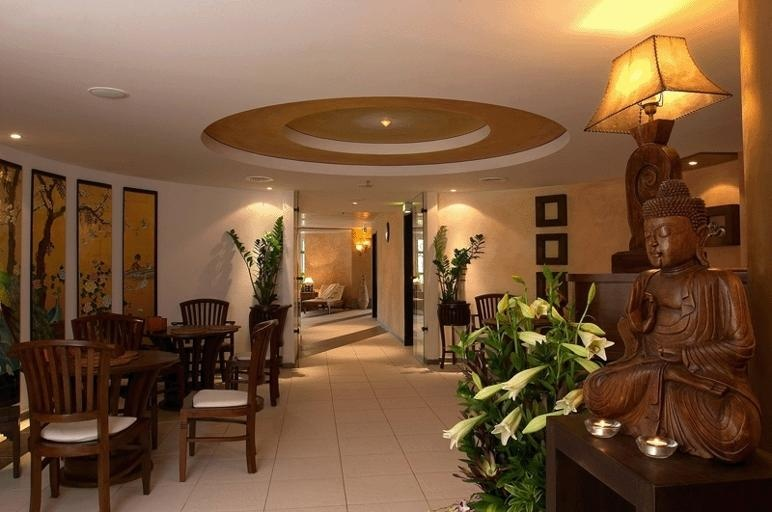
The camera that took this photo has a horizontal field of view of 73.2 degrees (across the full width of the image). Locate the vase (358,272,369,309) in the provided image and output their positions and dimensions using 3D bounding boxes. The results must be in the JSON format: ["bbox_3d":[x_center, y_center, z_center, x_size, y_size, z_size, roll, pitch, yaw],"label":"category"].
[{"bbox_3d":[-0.676,1.149,16.954,0.328,1.124,0.345,-1,3,-12],"label":"vase"}]

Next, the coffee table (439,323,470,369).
[{"bbox_3d":[0.961,1.276,7.848,0.419,0.501,0.400,7,-17,-41],"label":"coffee table"}]

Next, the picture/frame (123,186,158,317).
[{"bbox_3d":[-3.227,-0.058,6.908,0.193,1.685,0.573,1,3,26],"label":"picture/frame"}]

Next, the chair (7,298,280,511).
[{"bbox_3d":[-1.902,1.038,4.078,1.496,0.891,1.450,-1,-1,12],"label":"chair"}]

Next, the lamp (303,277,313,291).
[{"bbox_3d":[-2.451,0.914,16.614,0.391,0.471,0.371,-2,-7,27],"label":"lamp"}]

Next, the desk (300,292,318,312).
[{"bbox_3d":[-2.441,1.399,16.228,0.594,0.665,1.008,1,-1,6],"label":"desk"}]

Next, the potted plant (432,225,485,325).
[{"bbox_3d":[1.009,0.252,8.040,1.133,1.369,0.873,9,-17,-13],"label":"potted plant"}]

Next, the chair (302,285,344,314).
[{"bbox_3d":[-1.958,1.279,16.382,0.735,0.663,1.137,-1,-4,21],"label":"chair"}]
